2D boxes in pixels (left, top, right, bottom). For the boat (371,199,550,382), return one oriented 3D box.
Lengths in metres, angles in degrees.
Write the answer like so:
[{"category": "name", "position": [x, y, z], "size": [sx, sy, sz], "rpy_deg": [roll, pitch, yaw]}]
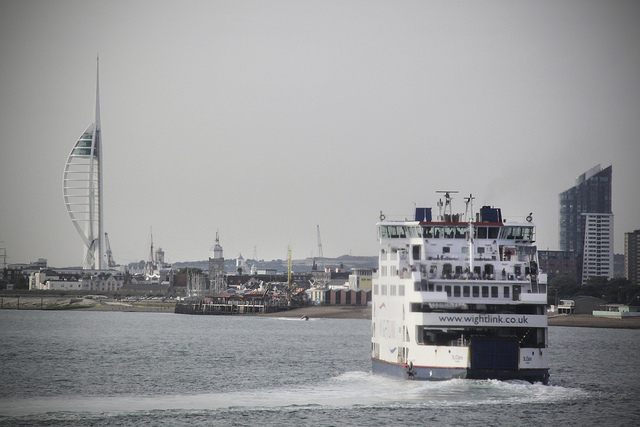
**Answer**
[{"category": "boat", "position": [17.782, 10.763, 166.422], "size": [20.656, 20.130, 6.847], "rpy_deg": [0, -6, 7]}]
